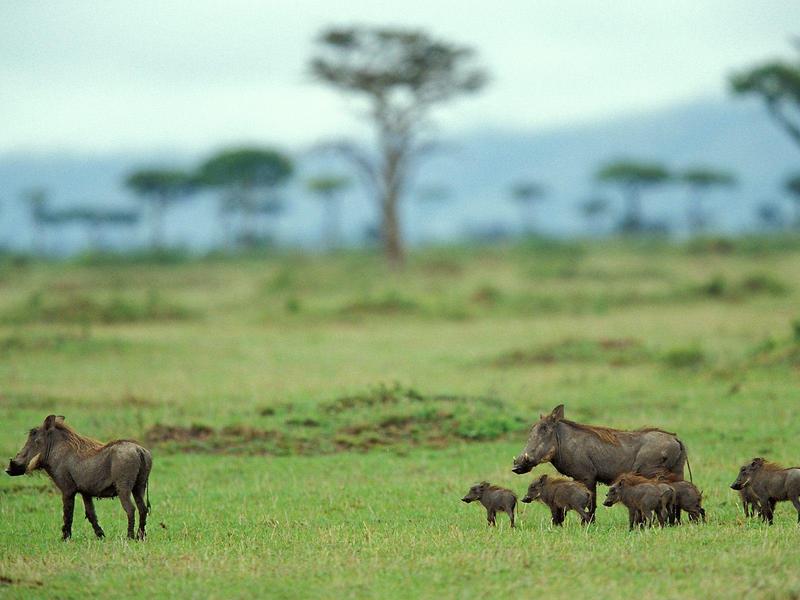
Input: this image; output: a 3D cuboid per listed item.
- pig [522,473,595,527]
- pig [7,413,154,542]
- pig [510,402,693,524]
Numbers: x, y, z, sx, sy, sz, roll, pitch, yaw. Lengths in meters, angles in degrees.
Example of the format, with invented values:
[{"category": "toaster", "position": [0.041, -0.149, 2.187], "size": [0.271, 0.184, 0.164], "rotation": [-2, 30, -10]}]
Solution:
[{"category": "pig", "position": [2.130, 2.706, 21.798], "size": [0.916, 0.643, 0.433], "rotation": [4, 11, 25]}, {"category": "pig", "position": [-4.212, 2.414, 21.828], "size": [1.737, 1.622, 0.582], "rotation": [2, 10, 16]}, {"category": "pig", "position": [2.630, 2.237, 22.063], "size": [2.077, 1.622, 0.820], "rotation": [0, -2, 4]}]
